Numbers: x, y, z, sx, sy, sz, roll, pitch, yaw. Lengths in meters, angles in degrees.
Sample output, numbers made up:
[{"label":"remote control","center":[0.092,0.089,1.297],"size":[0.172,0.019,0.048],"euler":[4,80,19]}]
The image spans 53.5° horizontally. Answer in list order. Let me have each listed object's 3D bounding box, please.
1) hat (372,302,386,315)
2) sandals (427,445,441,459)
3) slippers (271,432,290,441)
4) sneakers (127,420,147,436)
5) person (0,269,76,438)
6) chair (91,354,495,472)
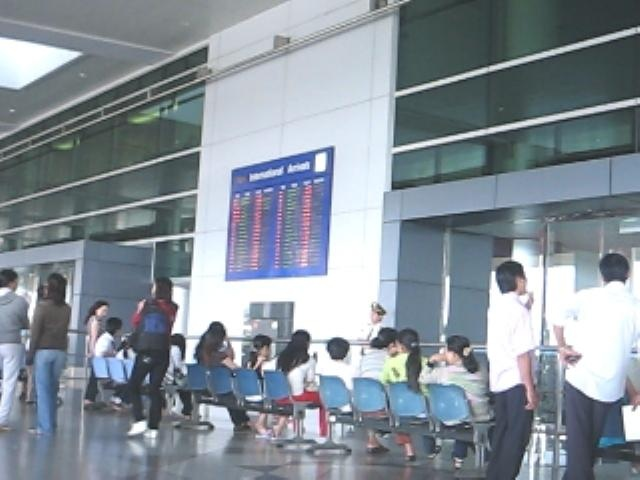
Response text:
[{"label":"hat","center":[0.923,1.093,9.804],"size":[0.195,0.109,0.213],"euler":[21,-22,33]},{"label":"sandals","center":[1.310,2.401,7.278],"size":[0.096,0.083,0.289],"euler":[1,6,24]},{"label":"slippers","center":[-0.524,2.616,8.478],"size":[0.097,0.112,0.288],"euler":[-12,-20,37]},{"label":"sneakers","center":[-2.352,2.412,8.133],"size":[0.301,0.197,0.177],"euler":[-2,-4,-6]},{"label":"person","center":[-3.426,1.416,7.987],"size":[0.456,1.986,0.331],"euler":[7,-10,-28]},{"label":"chair","center":[0.159,1.996,7.676],"size":[4.418,1.103,1.917],"euler":[-5,-11,35]}]
